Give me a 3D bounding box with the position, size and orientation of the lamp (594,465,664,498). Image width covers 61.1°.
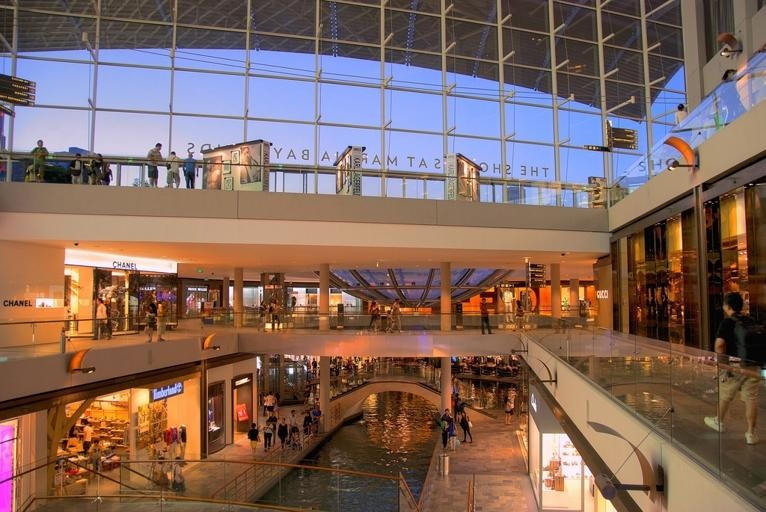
[{"bbox_3d":[5.470,5.132,14.516,1.141,0.633,0.973,-1,-8,3],"label":"lamp"}]

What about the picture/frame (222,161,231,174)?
[{"bbox_3d":[-6.427,-3.617,26.746,0.529,0.725,0.076,0,-15,-11],"label":"picture/frame"}]

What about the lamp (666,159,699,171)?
[{"bbox_3d":[9.351,-2.856,20.257,0.713,0.252,0.368,0,-3,1],"label":"lamp"}]

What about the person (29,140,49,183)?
[{"bbox_3d":[-13.573,-3.747,25.766,0.547,1.748,0.621,0,-5,-29],"label":"person"}]

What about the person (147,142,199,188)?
[{"bbox_3d":[-8.446,-3.320,26.129,1.947,1.262,0.375,-1,-4,-15],"label":"person"}]

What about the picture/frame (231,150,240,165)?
[{"bbox_3d":[-6.116,-4.091,27.019,0.340,0.624,0.405,-1,-4,-13],"label":"picture/frame"}]

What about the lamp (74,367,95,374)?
[{"bbox_3d":[-10.531,4.097,23.207,0.314,0.260,0.907,-3,-4,18],"label":"lamp"}]

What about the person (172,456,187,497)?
[{"bbox_3d":[-6.622,7.218,21.138,0.420,1.019,0.391,0,-4,-19],"label":"person"}]

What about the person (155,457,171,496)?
[{"bbox_3d":[-7.159,7.147,21.109,0.536,1.067,0.429,-2,-4,3],"label":"person"}]

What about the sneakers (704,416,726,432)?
[{"bbox_3d":[6.757,3.426,13.306,0.127,0.150,0.345,-17,11,-6],"label":"sneakers"}]

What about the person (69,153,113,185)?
[{"bbox_3d":[-11.563,-3.314,26.007,1.942,1.404,1.049,0,-3,-8],"label":"person"}]

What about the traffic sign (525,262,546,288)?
[{"bbox_3d":[7.998,0.961,33.978,0.441,1.092,1.296,-8,-9,40],"label":"traffic sign"}]

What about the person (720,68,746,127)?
[{"bbox_3d":[9.688,-4.470,17.987,0.289,1.202,1.195,-3,0,5],"label":"person"}]

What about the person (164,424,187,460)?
[{"bbox_3d":[-9.018,8.110,28.367,0.832,1.398,2.402,-1,-4,-16],"label":"person"}]

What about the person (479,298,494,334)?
[{"bbox_3d":[5.386,3.250,33.738,0.628,1.529,1.254,-3,-4,10],"label":"person"}]

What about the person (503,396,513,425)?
[{"bbox_3d":[7.581,9.228,38.899,0.376,1.159,2.781,-3,-4,13],"label":"person"}]
